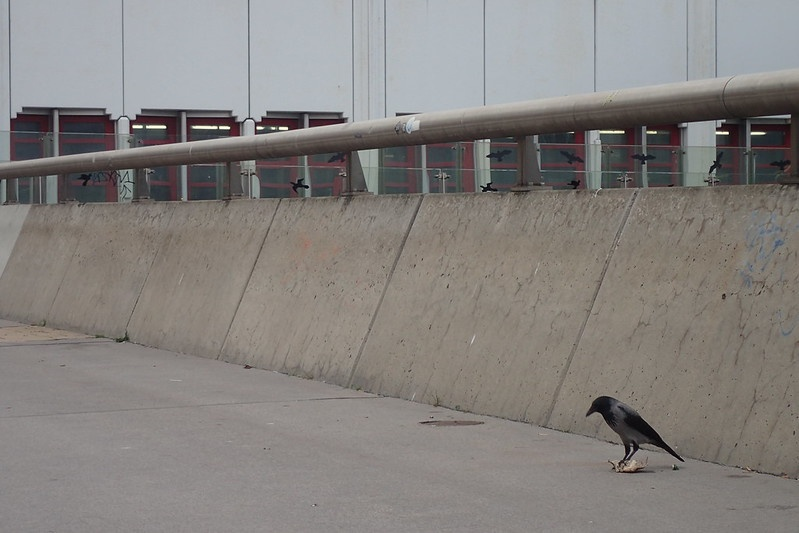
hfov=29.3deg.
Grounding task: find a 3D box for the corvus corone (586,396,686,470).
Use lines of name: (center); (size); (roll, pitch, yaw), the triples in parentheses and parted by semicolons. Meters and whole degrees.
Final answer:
corvus corone: (2.239, 1.550, 14.381); (0.974, 0.625, 0.327); (4, -15, -23)
